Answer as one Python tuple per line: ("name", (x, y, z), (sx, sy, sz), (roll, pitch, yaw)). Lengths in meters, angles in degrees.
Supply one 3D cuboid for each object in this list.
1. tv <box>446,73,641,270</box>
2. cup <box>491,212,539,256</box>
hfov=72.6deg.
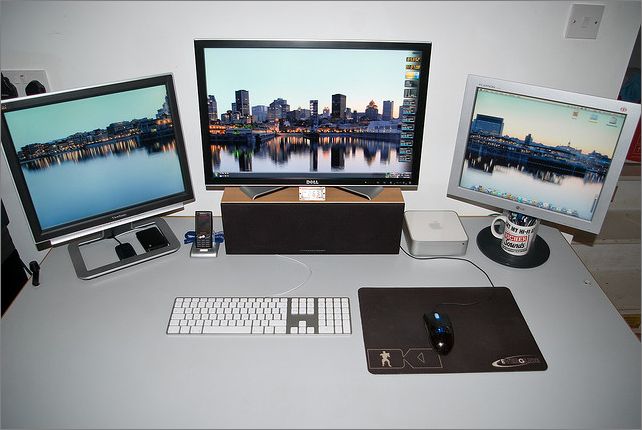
("tv", (0.890, -0.199, 1.812), (0.686, 0.866, 0.363), (17, 45, 24))
("cup", (0.845, 0.068, 1.963), (0.220, 0.191, 0.142), (7, 21, 33))
